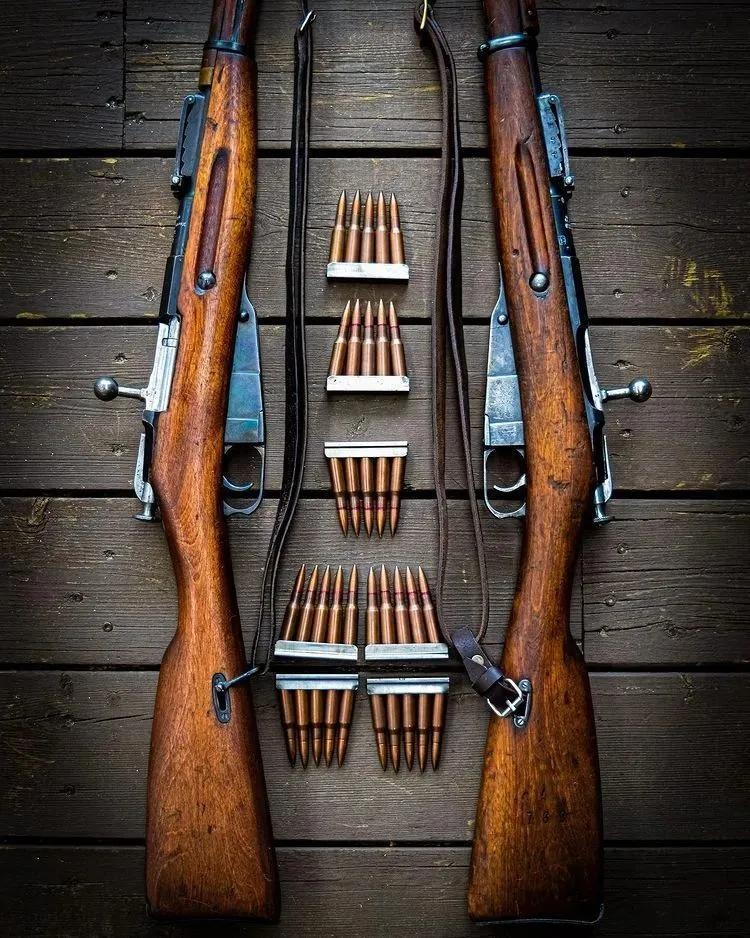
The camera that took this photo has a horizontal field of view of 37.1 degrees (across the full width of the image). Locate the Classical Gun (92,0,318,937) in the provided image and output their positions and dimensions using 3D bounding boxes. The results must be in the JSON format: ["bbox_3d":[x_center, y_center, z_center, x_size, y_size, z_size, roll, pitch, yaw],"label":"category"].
[{"bbox_3d":[-0.265,0.074,2.138,0.357,1.827,0.310,2,-5,7],"label":"Classical Gun"}]

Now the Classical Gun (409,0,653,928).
[{"bbox_3d":[0.305,0.121,1.972,0.395,2.095,0.261,0,-4,2],"label":"Classical Gun"}]
